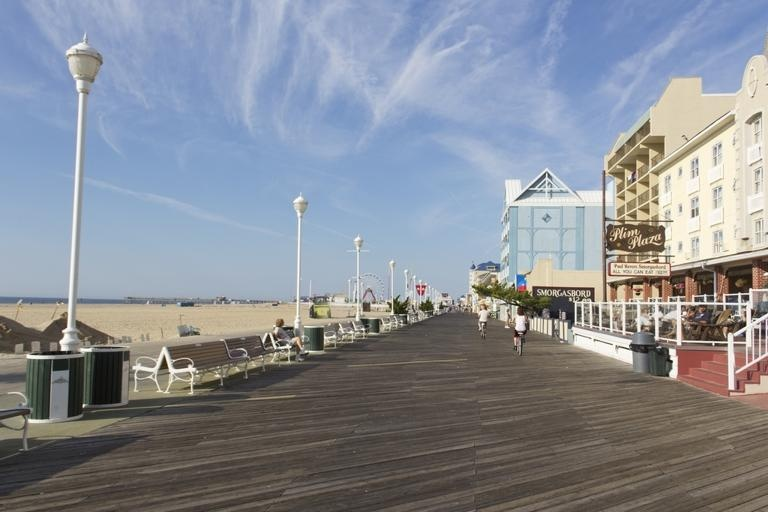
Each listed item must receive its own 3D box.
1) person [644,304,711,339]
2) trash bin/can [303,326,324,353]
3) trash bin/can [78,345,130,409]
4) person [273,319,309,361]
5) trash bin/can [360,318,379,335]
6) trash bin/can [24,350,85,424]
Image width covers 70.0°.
[{"bbox_3d":[8.465,1.939,15.994,0.838,1.046,2.553,-1,-8,-5],"label":"person"},{"bbox_3d":[-2.821,3.270,21.674,0.899,0.942,0.887,-1,-7,-3],"label":"trash bin/can"},{"bbox_3d":[-5.728,2.538,11.538,1.026,1.102,0.986,4,-9,-36],"label":"trash bin/can"},{"bbox_3d":[-3.186,2.989,19.110,0.803,0.776,1.507,5,1,8],"label":"person"},{"bbox_3d":[-0.786,4.647,34.109,0.900,1.022,1.548,0,-4,2],"label":"trash bin/can"},{"bbox_3d":[-5.978,2.461,10.564,1.139,1.268,1.214,0,-5,-7],"label":"trash bin/can"}]
